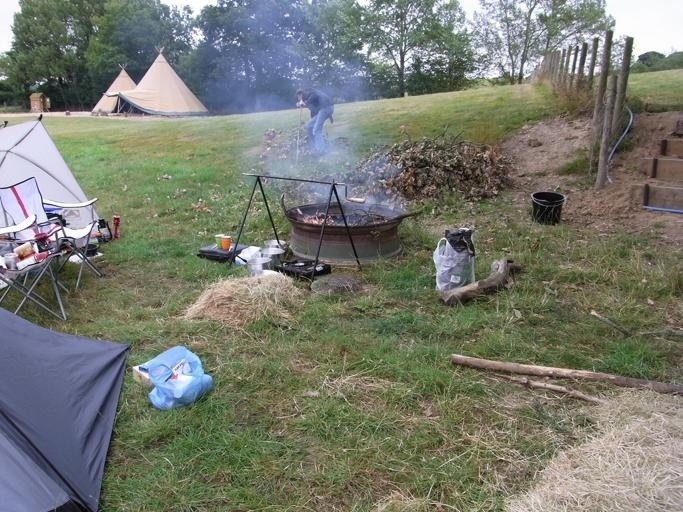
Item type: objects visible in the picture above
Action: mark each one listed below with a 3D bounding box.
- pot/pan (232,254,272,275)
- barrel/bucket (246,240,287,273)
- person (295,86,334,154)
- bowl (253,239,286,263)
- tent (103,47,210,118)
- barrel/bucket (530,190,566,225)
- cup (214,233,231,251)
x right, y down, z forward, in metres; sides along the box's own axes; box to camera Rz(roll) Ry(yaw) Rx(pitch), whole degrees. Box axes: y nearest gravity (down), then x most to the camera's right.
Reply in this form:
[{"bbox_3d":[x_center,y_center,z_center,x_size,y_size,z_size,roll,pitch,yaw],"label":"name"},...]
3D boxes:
[{"bbox_3d":[-1.173,0.099,7.727,0.414,0.158,0.249,-1,12,-3],"label":"pot/pan"},{"bbox_3d":[-1.020,0.028,7.997,0.265,0.225,0.591,12,33,27],"label":"barrel/bucket"},{"bbox_3d":[-0.645,-3.294,14.288,0.790,1.369,1.597,-3,17,-2],"label":"person"},{"bbox_3d":[-0.971,-0.107,8.326,0.342,0.330,0.331,1,12,0],"label":"bowl"},{"bbox_3d":[-9.105,-8.109,29.855,4.288,2.596,4.150,-5,15,-34],"label":"tent"},{"bbox_3d":[3.184,-0.733,9.311,0.513,0.396,0.551,-5,23,2],"label":"barrel/bucket"},{"bbox_3d":[-1.719,-0.209,8.498,0.171,0.190,0.262,-2,8,-19],"label":"cup"}]
